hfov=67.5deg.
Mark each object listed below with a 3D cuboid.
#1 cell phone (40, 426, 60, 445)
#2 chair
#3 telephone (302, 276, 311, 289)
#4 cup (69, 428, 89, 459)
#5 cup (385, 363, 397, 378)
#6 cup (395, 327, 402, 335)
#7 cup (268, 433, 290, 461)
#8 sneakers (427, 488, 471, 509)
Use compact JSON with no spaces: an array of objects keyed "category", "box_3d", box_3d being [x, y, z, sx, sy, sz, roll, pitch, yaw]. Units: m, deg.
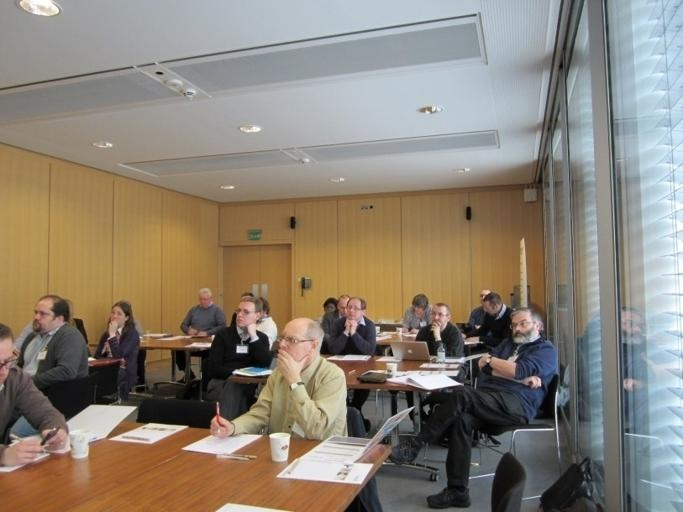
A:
[{"category":"cell phone","box_3d":[-1.533,0.942,2.701,0.161,0.042,0.048,-36,22,29]},{"category":"chair","box_3d":[1.445,1.346,4.235,0.314,0.540,0.384,18,-2,-6]},{"category":"telephone","box_3d":[-0.714,0.555,10.625,0.230,0.260,0.144,0,0,-13]},{"category":"cup","box_3d":[-1.356,0.975,2.647,0.112,0.130,0.117,-2,-9,0]},{"category":"cup","box_3d":[0.436,1.004,4.495,0.101,0.112,0.102,2,3,0]},{"category":"cup","box_3d":[0.865,1.142,7.665,0.127,0.129,0.130,2,3,0]},{"category":"cup","box_3d":[-0.316,0.950,2.560,0.115,0.102,0.121,-1,-9,0]},{"category":"sneakers","box_3d":[0.804,1.830,3.853,0.306,0.159,0.133,2,-8,-2]}]
